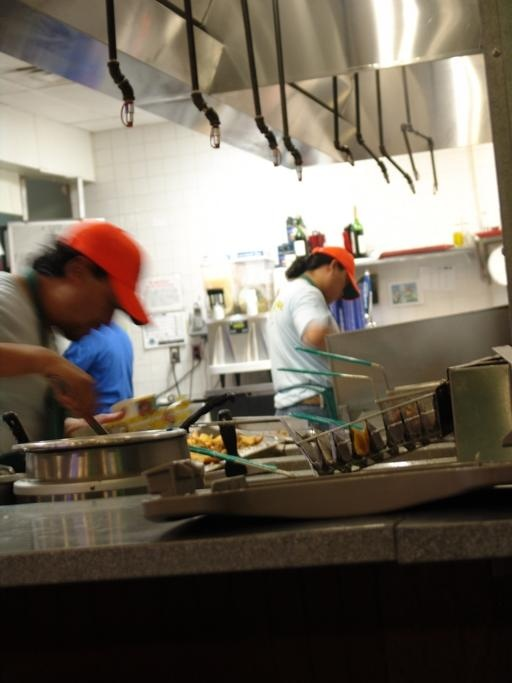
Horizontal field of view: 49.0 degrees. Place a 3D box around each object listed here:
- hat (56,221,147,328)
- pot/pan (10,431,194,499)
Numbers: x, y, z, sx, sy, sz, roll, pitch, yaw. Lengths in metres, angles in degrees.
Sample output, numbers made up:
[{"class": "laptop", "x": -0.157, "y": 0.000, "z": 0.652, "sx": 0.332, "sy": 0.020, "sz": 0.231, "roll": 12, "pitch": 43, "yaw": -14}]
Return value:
[{"class": "hat", "x": -0.482, "y": -0.221, "z": 1.816, "sx": 0.245, "sy": 0.344, "sz": 0.171, "roll": -10, "pitch": 11, "yaw": -23}, {"class": "pot/pan", "x": -0.339, "y": 0.258, "z": 1.233, "sx": 0.276, "sy": 0.092, "sz": 0.270, "roll": -2, "pitch": -5, "yaw": 6}]
